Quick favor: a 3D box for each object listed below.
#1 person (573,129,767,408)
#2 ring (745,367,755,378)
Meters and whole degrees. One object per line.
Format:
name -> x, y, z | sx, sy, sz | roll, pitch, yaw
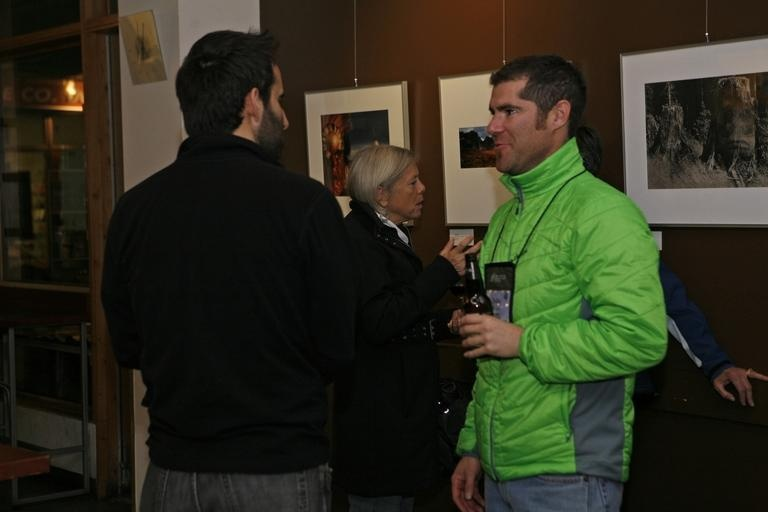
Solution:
person -> 1.306, 0.048, 3.236 | 0.176, 1.385, 0.261 | -21, -9, 27
ring -> 1.774, 0.562, 3.532 | 0.035, 0.044, 0.048 | -4, 0, 26
